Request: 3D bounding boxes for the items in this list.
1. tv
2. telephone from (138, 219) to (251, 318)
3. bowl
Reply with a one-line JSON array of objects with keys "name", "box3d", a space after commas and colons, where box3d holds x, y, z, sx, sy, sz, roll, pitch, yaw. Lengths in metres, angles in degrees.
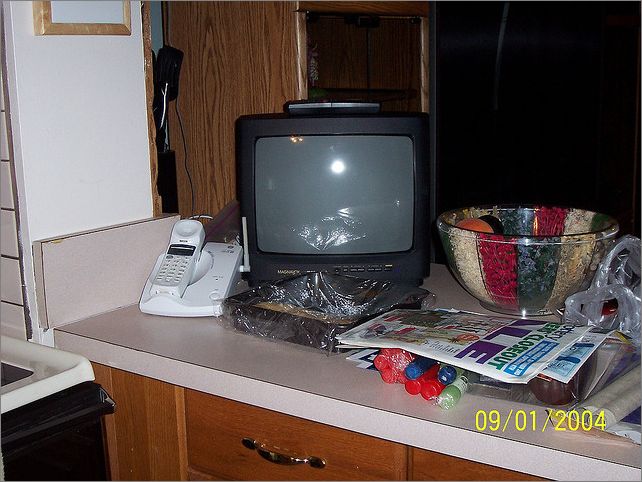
[{"name": "tv", "box3d": [0.033, -0.083, 1.318, 0.479, 0.403, 0.266, 0, -1, -4]}, {"name": "telephone", "box3d": [-0.273, 0.077, 1.124, 0.169, 0.100, 0.239, 3, 39, 8]}, {"name": "bowl", "box3d": [0.421, 0.045, 1.098, 0.339, 0.199, 0.283, 6, 16, 24]}]
